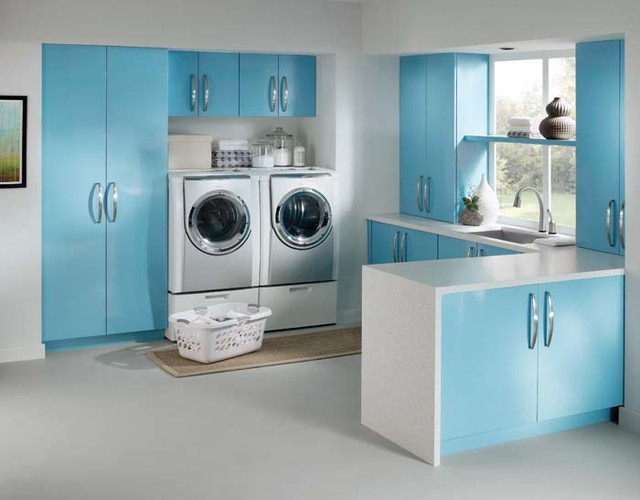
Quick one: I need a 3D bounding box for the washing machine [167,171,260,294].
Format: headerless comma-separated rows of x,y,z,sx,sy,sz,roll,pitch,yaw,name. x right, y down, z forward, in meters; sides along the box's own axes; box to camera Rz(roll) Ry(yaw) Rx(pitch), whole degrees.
-1.031,-0.166,4.922,0.924,1.406,0.982,-1,2,-23,washing machine

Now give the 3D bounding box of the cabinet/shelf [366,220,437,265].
0.789,-0.076,4.713,0.158,0.385,0.388,-1,6,-25,cabinet/shelf

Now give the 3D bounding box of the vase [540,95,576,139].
1.826,-0.997,3.935,0.292,0.328,0.298,-4,7,-34,vase

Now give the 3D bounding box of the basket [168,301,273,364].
-0.849,0.705,4.287,0.777,0.384,0.483,-6,10,-39,basket

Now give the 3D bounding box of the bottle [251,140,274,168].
-0.592,-0.967,5.182,0.246,0.299,0.249,-2,6,-27,bottle

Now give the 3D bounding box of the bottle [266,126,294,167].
-0.406,-1.095,5.435,0.341,0.432,0.357,0,4,0,bottle

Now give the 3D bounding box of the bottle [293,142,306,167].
-0.215,-1.000,5.432,0.133,0.225,0.252,-1,7,-3,bottle

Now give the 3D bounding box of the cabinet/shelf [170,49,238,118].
-1.129,-1.609,4.821,0.542,0.516,0.264,-1,6,-18,cabinet/shelf

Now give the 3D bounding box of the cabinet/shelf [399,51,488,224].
1.141,-1.086,4.873,0.885,1.607,0.390,6,9,40,cabinet/shelf

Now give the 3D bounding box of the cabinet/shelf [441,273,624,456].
1.145,0.623,2.803,0.881,0.705,0.371,-3,2,-24,cabinet/shelf

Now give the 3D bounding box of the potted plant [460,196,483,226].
1.342,-0.343,4.464,0.223,0.344,0.248,2,4,20,potted plant
